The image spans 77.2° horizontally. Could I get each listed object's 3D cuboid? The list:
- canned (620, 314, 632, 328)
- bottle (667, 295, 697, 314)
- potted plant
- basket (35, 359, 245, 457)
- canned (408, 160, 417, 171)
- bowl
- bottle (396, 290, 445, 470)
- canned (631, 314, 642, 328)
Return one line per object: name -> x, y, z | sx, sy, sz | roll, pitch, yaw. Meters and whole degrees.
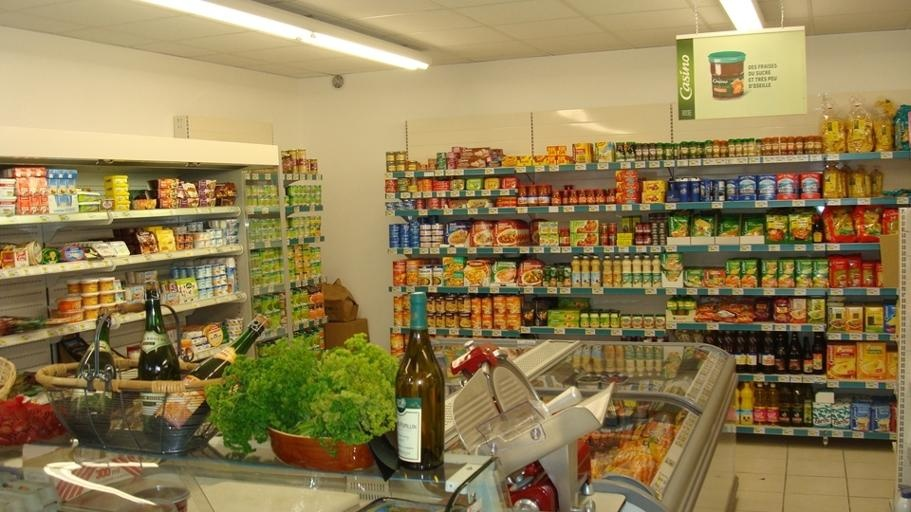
canned -> 1.999, 0.782, 6.749 | 0.179, 0.167, 0.107 | 4, 10, 19
bottle -> 2.559, 0.566, 6.511 | 0.264, 0.134, 0.236 | 1, 5, 17
potted plant -> -0.618, 0.488, 2.322 | 0.638, 0.299, 0.588 | 1, 16, -15
basket -> -1.299, 0.634, 2.271 | 0.618, 0.167, 0.396 | 3, 4, 19
canned -> -0.569, -1.149, 7.335 | 0.150, 0.106, 0.133 | 1, -1, 12
bowl -> -0.526, 0.735, 2.189 | 0.259, 0.070, 0.210 | 2, -2, -4
bottle -> -0.153, 0.464, 2.239 | 0.191, 0.665, 0.270 | -3, 7, -2
canned -> 2.118, 0.769, 6.715 | 0.180, 0.132, 0.087 | 1, 11, 15
